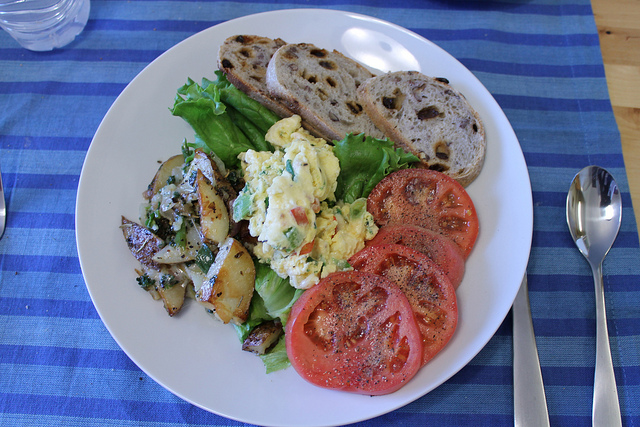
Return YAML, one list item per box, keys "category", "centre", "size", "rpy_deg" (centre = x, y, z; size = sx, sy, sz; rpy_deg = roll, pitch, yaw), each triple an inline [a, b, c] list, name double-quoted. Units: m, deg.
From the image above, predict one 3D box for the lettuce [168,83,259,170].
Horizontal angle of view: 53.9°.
- category: "lettuce"
  centre: [-0.766, -0.568, 4.526]
  size: [0.716, 0.280, 0.419]
  rpy_deg: [42, 55, -3]

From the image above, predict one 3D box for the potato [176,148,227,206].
- category: "potato"
  centre: [-0.835, -0.230, 4.321]
  size: [0.353, 0.115, 0.351]
  rpy_deg: [-44, 60, 21]

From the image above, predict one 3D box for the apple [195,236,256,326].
- category: "apple"
  centre: [-0.573, 0.472, 4.202]
  size: [0.366, 0.212, 0.486]
  rpy_deg: [27, 79, 4]

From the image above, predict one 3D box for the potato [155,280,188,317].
- category: "potato"
  centre: [-0.981, 0.538, 4.257]
  size: [0.181, 0.087, 0.264]
  rpy_deg: [-30, 81, -7]

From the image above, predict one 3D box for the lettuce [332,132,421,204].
- category: "lettuce"
  centre: [0.321, -0.332, 4.369]
  size: [0.498, 0.242, 0.540]
  rpy_deg: [1, 94, -5]

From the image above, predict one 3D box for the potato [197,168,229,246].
- category: "potato"
  centre: [-0.706, -0.028, 4.137]
  size: [0.199, 0.081, 0.496]
  rpy_deg: [-16, 87, -16]

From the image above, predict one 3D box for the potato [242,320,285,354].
- category: "potato"
  centre: [-0.391, 0.823, 4.258]
  size: [0.306, 0.213, 0.098]
  rpy_deg: [-52, 126, -46]
